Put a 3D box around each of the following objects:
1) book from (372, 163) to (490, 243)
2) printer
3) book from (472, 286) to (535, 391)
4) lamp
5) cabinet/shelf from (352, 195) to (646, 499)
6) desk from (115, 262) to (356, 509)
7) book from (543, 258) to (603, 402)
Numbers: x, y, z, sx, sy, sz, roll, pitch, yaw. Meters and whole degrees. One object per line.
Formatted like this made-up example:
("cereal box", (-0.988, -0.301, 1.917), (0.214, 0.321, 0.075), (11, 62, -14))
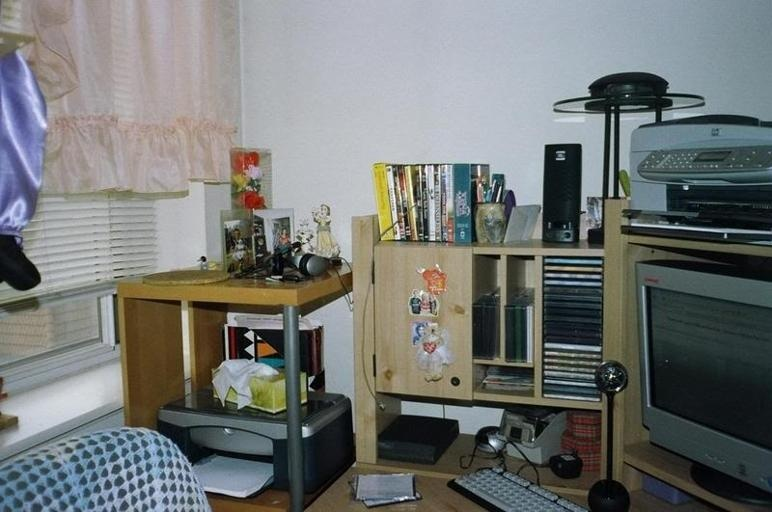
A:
("book", (0.182, -0.211, 2.398), (0.517, 0.387, 0.293), (2, 9, 16))
("printer", (-0.505, 0.699, 2.440), (0.694, 0.288, 0.326), (2, 12, 16))
("book", (0.444, 0.295, 2.508), (0.325, 0.466, 0.342), (1, 6, 15))
("lamp", (0.939, -0.340, 2.533), (0.623, 0.724, 0.638), (1, 5, 24))
("cabinet/shelf", (0.423, 0.319, 2.264), (1.060, 1.038, 0.374), (0, 4, 12))
("desk", (-0.476, 0.409, 2.704), (0.847, 0.954, 0.923), (1, 7, 12))
("book", (0.663, 0.257, 2.208), (0.213, 0.511, 0.082), (1, 12, 14))
